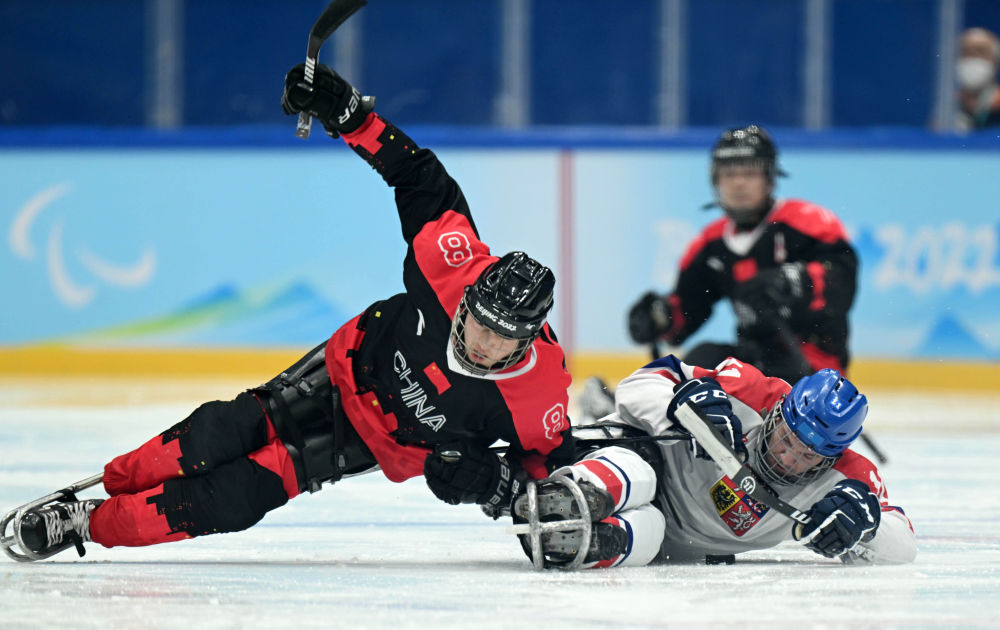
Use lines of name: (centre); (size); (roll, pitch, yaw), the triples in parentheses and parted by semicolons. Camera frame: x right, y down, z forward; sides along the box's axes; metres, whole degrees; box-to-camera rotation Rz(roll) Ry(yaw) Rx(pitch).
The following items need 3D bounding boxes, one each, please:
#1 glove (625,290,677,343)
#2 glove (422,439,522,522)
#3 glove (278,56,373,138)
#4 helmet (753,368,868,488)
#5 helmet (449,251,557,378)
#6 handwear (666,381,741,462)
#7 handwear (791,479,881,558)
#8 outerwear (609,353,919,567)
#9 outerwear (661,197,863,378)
glove: (1.176, 0.023, 12.539); (0.302, 0.389, 0.492); (-2, 4, 8)
glove: (-0.172, 0.973, 9.637); (0.551, 0.308, 0.229); (12, -36, 5)
glove: (-1.184, -1.320, 9.905); (0.194, 0.357, 0.436); (-59, 4, -35)
helmet: (1.866, 0.706, 9.729); (0.479, 0.348, 0.466); (-47, -7, 34)
helmet: (0.000, 0.021, 9.577); (0.496, 0.408, 0.456); (-45, -10, -31)
handwear: (1.250, 0.630, 9.869); (0.349, 0.521, 0.209); (-30, -18, -26)
handwear: (2.010, 1.226, 9.583); (0.490, 0.362, 0.224); (-28, -22, -2)
outerwear: (1.483, 1.022, 9.863); (1.427, 1.361, 0.701); (-1, 21, -3)
outerwear: (2.086, 0.010, 12.850); (1.508, 1.740, 1.066); (-10, -1, 28)
